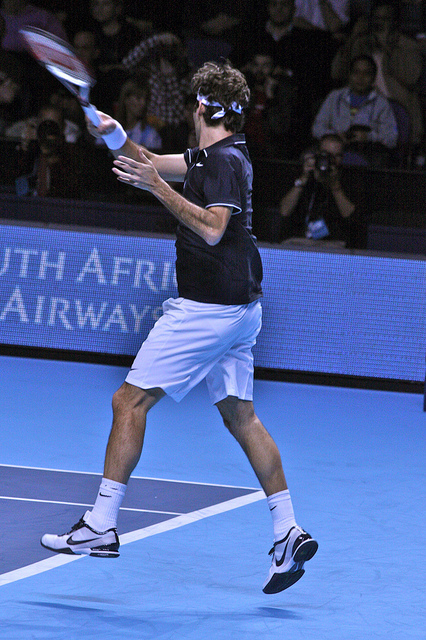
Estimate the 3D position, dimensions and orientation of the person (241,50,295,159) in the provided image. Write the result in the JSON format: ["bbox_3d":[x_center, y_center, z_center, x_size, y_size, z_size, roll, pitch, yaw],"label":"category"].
[{"bbox_3d":[0.541,-2.300,8.356,0.667,1.591,0.416,11,45,13],"label":"person"}]

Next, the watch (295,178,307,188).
[{"bbox_3d":[0.905,-1.421,7.743,0.094,0.024,0.093,31,-7,13],"label":"watch"}]

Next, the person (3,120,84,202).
[{"bbox_3d":[-1.935,-1.745,8.469,1.109,0.941,0.243,-3,-11,11],"label":"person"}]

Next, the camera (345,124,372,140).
[{"bbox_3d":[1.441,-1.868,7.380,0.260,0.143,0.038,3,4,15],"label":"camera"}]

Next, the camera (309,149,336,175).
[{"bbox_3d":[1.143,-1.565,7.620,0.302,0.269,0.215,-1,-11,14],"label":"camera"}]

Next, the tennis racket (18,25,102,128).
[{"bbox_3d":[-0.640,-1.039,3.118,0.323,0.484,0.664,1,4,-14],"label":"tennis racket"}]

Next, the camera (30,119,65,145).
[{"bbox_3d":[-1.897,-2.157,8.533,0.343,0.246,0.237,-8,40,-3],"label":"camera"}]
